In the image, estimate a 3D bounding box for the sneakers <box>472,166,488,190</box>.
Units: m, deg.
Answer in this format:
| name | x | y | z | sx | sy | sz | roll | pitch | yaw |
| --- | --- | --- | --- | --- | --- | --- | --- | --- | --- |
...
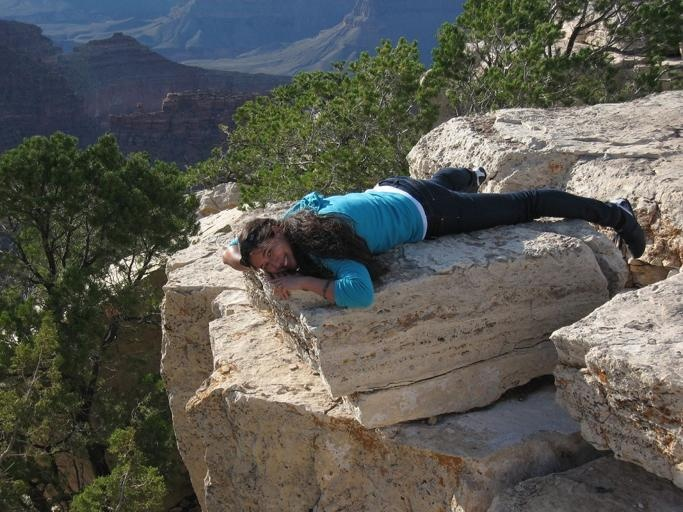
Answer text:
| name | x | y | z | sx | sy | sz | roll | pitch | yaw |
| --- | --- | --- | --- | --- | --- | --- | --- | --- | --- |
| sneakers | 2.143 | -1.270 | 13.932 | 0.175 | 0.189 | 0.479 | -16 | 30 | 28 |
